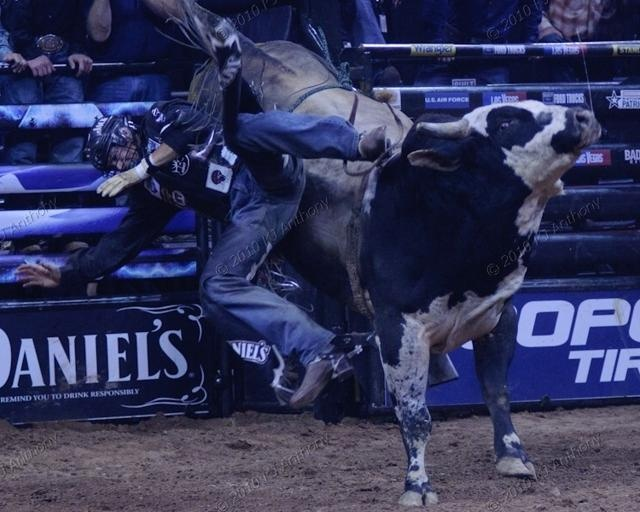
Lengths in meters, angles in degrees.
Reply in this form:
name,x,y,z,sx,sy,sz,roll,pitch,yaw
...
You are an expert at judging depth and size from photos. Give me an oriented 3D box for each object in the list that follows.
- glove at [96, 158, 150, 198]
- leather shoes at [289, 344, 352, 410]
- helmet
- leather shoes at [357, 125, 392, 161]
name,x,y,z,sx,sy,sz,roll,pitch,yaw
glove,-1.503,-0.548,11.394,0.258,0.294,0.346,11,22,33
leather shoes,0.004,0.831,10.610,0.276,0.502,0.213,47,-4,-1
helmet,-1.563,-0.864,11.718,0.350,0.433,0.420,16,24,40
leather shoes,0.369,-0.760,10.324,0.212,0.229,0.171,0,5,3
